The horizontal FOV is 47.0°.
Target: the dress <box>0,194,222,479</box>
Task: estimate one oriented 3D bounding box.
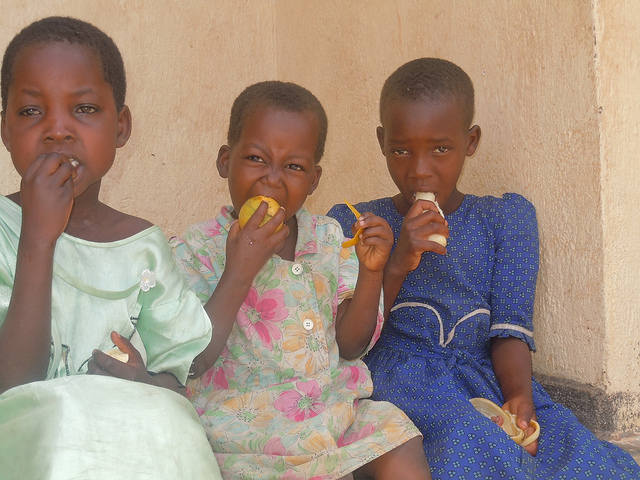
[{"bbox_3d":[-0.767,0.373,2.245,0.675,0.952,0.348,9,-42,-46],"label":"dress"}]

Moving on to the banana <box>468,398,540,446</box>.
[{"bbox_3d":[0.732,0.725,2.960,0.286,0.110,0.121,6,-4,16],"label":"banana"}]
